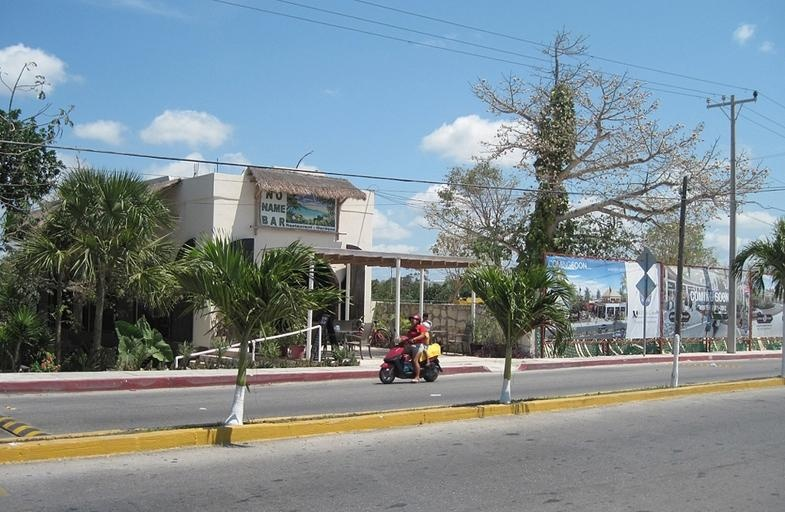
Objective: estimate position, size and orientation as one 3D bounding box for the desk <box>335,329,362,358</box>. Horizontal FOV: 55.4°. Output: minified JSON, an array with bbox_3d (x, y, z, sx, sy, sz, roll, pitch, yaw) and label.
[{"bbox_3d":[-1.543,3.324,28.450,0.845,1.378,0.910,-4,-9,35],"label":"desk"}]

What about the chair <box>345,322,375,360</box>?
[{"bbox_3d":[-1.409,3.468,30.215,1.139,1.459,1.167,4,0,-9],"label":"chair"}]

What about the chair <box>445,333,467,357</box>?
[{"bbox_3d":[2.688,3.749,31.551,0.732,1.433,0.861,-2,-11,20],"label":"chair"}]

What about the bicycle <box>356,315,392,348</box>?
[{"bbox_3d":[-0.850,3.272,30.769,1.615,1.112,0.831,2,3,-16],"label":"bicycle"}]
